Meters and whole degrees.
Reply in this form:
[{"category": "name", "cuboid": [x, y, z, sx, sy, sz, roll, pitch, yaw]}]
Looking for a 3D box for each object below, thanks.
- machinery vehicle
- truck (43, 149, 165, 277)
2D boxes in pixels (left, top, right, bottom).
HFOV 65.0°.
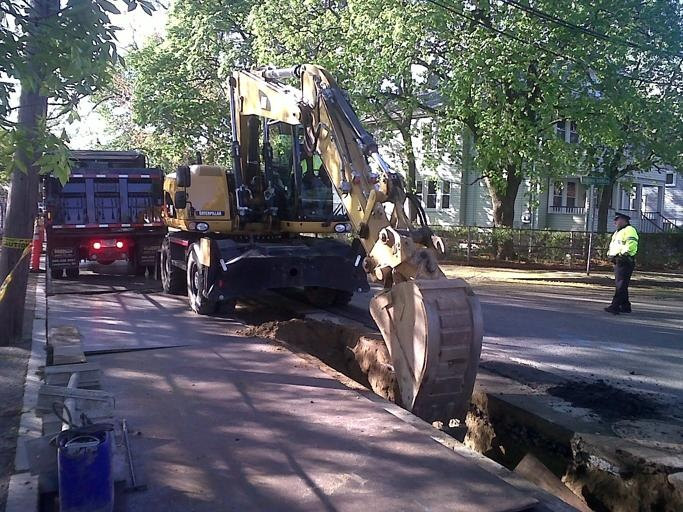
[{"category": "machinery vehicle", "cuboid": [-0.885, -0.851, 9.032, 2.412, 4.358, 7.926, -4, 11, -32]}, {"category": "truck", "cuboid": [-6.748, -1.064, 15.516, 2.948, 3.301, 3.039, 0, 7, -19]}]
